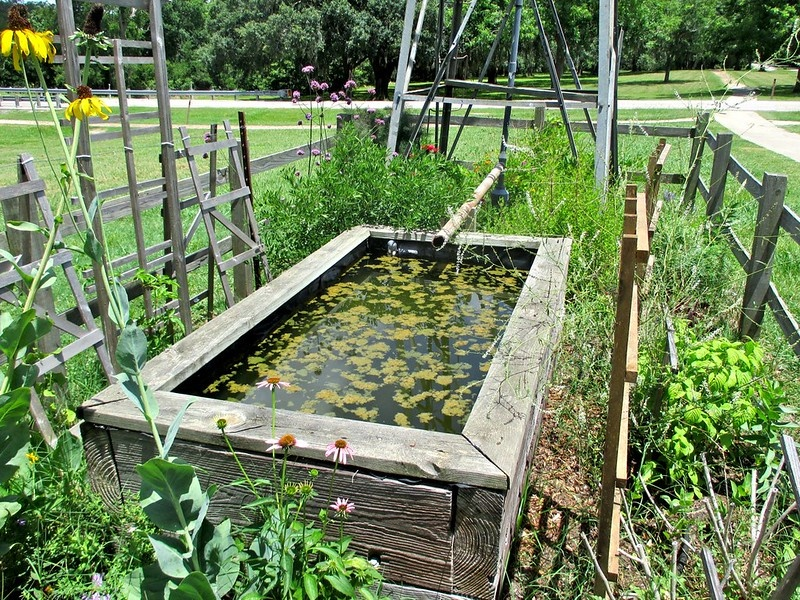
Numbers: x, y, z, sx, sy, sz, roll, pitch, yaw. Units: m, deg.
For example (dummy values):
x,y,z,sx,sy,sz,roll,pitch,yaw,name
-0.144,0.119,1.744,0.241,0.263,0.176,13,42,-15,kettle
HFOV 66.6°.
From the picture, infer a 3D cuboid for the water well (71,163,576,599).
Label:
x,y,z,sx,sy,sz,roll,pitch,yaw,name
0.183,-0.121,3.133,1.315,0.615,2.475,7,26,18,water well
